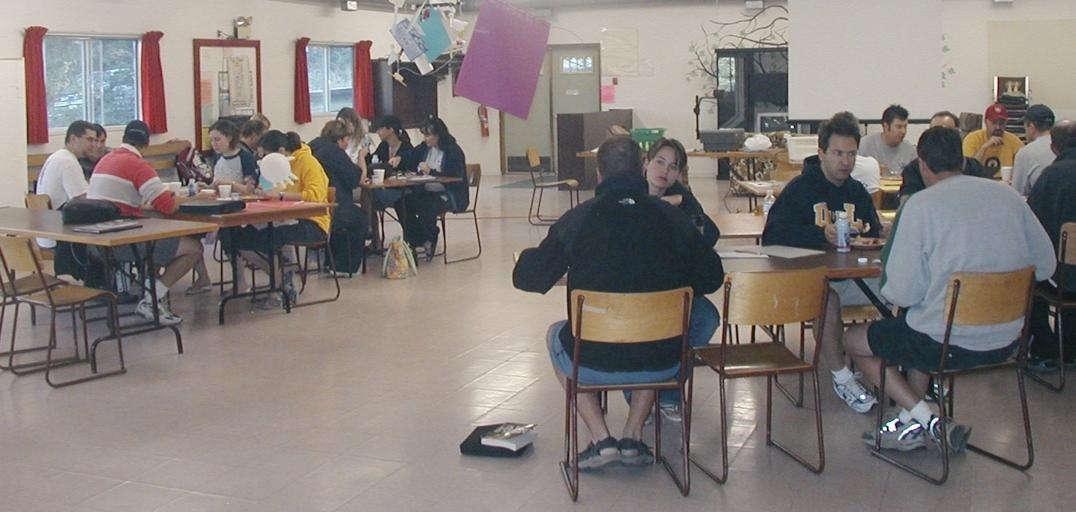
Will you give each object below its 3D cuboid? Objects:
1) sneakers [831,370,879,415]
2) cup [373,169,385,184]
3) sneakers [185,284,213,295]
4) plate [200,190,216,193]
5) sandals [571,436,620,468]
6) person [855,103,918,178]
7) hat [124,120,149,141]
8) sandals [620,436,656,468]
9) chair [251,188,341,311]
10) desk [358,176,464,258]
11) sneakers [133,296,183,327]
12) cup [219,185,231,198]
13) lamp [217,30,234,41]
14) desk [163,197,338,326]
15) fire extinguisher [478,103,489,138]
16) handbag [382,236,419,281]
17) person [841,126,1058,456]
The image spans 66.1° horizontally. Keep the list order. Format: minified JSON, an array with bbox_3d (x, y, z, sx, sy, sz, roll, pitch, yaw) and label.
[{"bbox_3d":[3.047,1.327,7.976,0.545,0.209,0.246,38,-4,36],"label":"sneakers"},{"bbox_3d":[-2.173,-1.117,11.578,0.202,0.174,0.217,0,1,0],"label":"cup"},{"bbox_3d":[-4.368,0.435,10.691,0.272,0.068,0.128,0,0,-36],"label":"sneakers"},{"bbox_3d":[-4.039,-0.798,10.147,0.136,0.054,0.138,-5,13,-7],"label":"plate"},{"bbox_3d":[0.515,1.749,7.482,0.212,0.195,0.449,-6,-19,-33],"label":"sandals"},{"bbox_3d":[4.194,-1.393,9.989,0.780,0.928,0.535,-7,50,5],"label":"person"},{"bbox_3d":[-4.692,-1.472,9.679,0.246,0.215,0.185,-6,13,-7],"label":"hat"},{"bbox_3d":[0.890,1.747,7.380,0.200,0.120,0.350,5,-5,36],"label":"sandals"},{"bbox_3d":[-3.184,-0.183,10.454,1.147,1.409,1.035,4,7,-41],"label":"chair"},{"bbox_3d":[-1.909,-0.593,11.862,1.334,0.662,1.254,-7,9,-34],"label":"desk"},{"bbox_3d":[-4.434,0.656,9.660,0.676,0.265,0.218,15,12,-2],"label":"sneakers"},{"bbox_3d":[-3.716,-0.770,9.809,0.171,0.128,0.181,0,-3,0],"label":"cup"},{"bbox_3d":[-5.549,-3.957,14.739,0.081,0.169,0.331,4,15,35],"label":"lamp"},{"bbox_3d":[-3.339,-0.149,10.090,1.685,1.019,1.239,-2,7,-20],"label":"desk"},{"bbox_3d":[-1.242,-3.194,19.634,0.287,0.781,0.253,-11,15,-21],"label":"fire extinguisher"},{"bbox_3d":[-1.909,-0.011,11.424,0.443,0.542,0.562,-6,30,-6],"label":"handbag"},{"bbox_3d":[3.624,0.331,7.443,1.498,2.866,0.683,-9,14,-15],"label":"person"}]
